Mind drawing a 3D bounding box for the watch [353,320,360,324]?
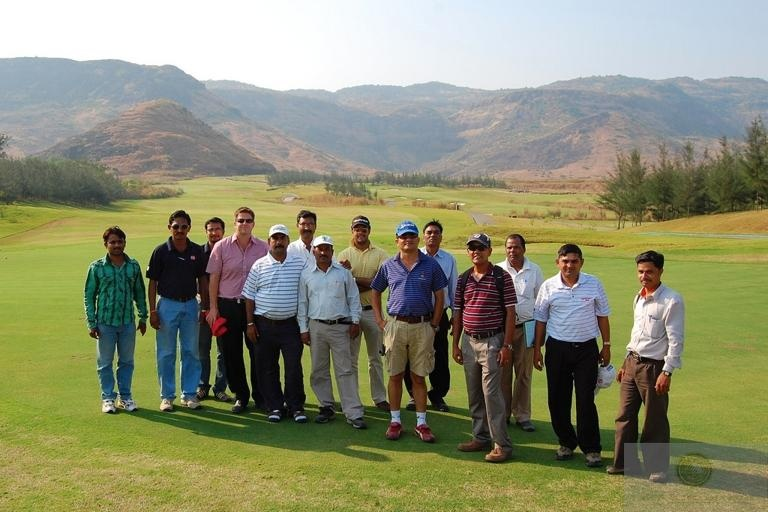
[{"bbox_3d":[-0.454,1.099,10.374,0.079,0.048,0.073,0,3,6],"label":"watch"}]

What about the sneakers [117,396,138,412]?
[{"bbox_3d":[-4.203,2.434,10.208,0.398,0.138,0.163,1,6,36],"label":"sneakers"}]

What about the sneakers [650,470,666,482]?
[{"bbox_3d":[3.570,2.891,8.128,0.234,0.097,0.118,-1,1,-2],"label":"sneakers"}]

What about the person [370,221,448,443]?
[{"bbox_3d":[0.392,1.119,9.847,1.157,3.360,1.004,-1,2,9],"label":"person"}]

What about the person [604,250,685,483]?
[{"bbox_3d":[3.610,1.417,8.557,0.960,2.964,0.924,-1,2,17],"label":"person"}]

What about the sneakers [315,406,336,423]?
[{"bbox_3d":[-0.960,2.583,10.182,0.335,0.228,0.277,-1,1,-10],"label":"sneakers"}]

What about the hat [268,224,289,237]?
[{"bbox_3d":[-1.806,-0.500,10.647,0.355,0.223,0.470,-1,-5,-5],"label":"hat"}]

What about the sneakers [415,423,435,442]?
[{"bbox_3d":[0.626,2.683,9.496,0.279,0.248,0.319,-1,1,0],"label":"sneakers"}]

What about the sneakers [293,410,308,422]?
[{"bbox_3d":[-1.353,2.606,10.129,0.229,0.161,0.216,-1,1,-9],"label":"sneakers"}]

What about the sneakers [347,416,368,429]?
[{"bbox_3d":[-0.422,2.676,9.977,0.142,0.123,0.340,0,-3,-37],"label":"sneakers"}]

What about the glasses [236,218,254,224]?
[{"bbox_3d":[-2.420,-0.616,10.897,0.217,0.093,0.076,-2,2,-29],"label":"glasses"}]

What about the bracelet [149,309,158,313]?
[{"bbox_3d":[-3.910,0.939,10.615,0.080,0.064,0.074,1,-1,4],"label":"bracelet"}]

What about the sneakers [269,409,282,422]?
[{"bbox_3d":[-1.768,2.608,10.186,0.221,0.160,0.269,-1,1,-6],"label":"sneakers"}]

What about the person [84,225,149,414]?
[{"bbox_3d":[-4.417,1.017,10.359,0.893,2.976,0.777,-2,2,-31],"label":"person"}]

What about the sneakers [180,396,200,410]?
[{"bbox_3d":[-3.282,2.515,10.616,0.153,0.156,0.403,-1,-3,-42],"label":"sneakers"}]

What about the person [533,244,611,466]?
[{"bbox_3d":[2.701,1.361,9.080,1.028,3.078,0.940,0,2,22],"label":"person"}]

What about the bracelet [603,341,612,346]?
[{"bbox_3d":[3.247,1.295,9.209,0.154,0.054,0.162,1,-5,-19],"label":"bracelet"}]

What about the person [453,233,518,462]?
[{"bbox_3d":[1.474,1.273,9.187,0.929,3.203,1.115,-1,2,7],"label":"person"}]

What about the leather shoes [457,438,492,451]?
[{"bbox_3d":[1.326,2.793,9.221,0.515,0.195,0.176,3,-7,-4],"label":"leather shoes"}]

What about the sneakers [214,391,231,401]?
[{"bbox_3d":[-2.921,2.570,11.332,0.130,0.112,0.316,0,-6,-39],"label":"sneakers"}]

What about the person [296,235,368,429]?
[{"bbox_3d":[-0.864,1.199,10.152,1.027,3.053,0.766,-1,2,-8],"label":"person"}]

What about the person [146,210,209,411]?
[{"bbox_3d":[-3.507,0.896,10.740,0.992,3.385,0.848,-2,2,-27],"label":"person"}]

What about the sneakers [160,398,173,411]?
[{"bbox_3d":[-3.617,2.472,10.352,0.238,0.174,0.221,-1,1,-13],"label":"sneakers"}]

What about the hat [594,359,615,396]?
[{"bbox_3d":[3.223,1.762,9.061,0.171,0.435,0.352,31,6,27],"label":"hat"}]

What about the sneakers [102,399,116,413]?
[{"bbox_3d":[-4.419,2.419,10.036,0.211,0.180,0.305,-2,2,-23],"label":"sneakers"}]

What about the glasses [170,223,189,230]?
[{"bbox_3d":[-3.504,-0.502,10.691,0.270,0.090,0.092,-1,1,-16],"label":"glasses"}]

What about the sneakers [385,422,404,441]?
[{"bbox_3d":[0.162,2.678,9.578,0.251,0.230,0.315,-1,1,2],"label":"sneakers"}]
